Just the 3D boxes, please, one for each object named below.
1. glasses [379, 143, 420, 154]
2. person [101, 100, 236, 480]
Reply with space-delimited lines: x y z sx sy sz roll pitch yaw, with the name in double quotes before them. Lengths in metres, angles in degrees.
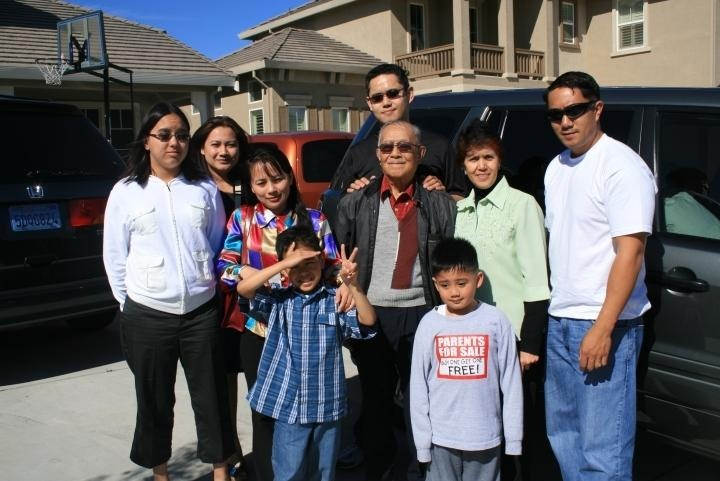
"glasses" 0.259 -0.616 3.858 0.261 0.078 0.059 1 14 4
"person" -1.308 0.389 3.956 0.814 2.556 0.643 -4 14 -15
